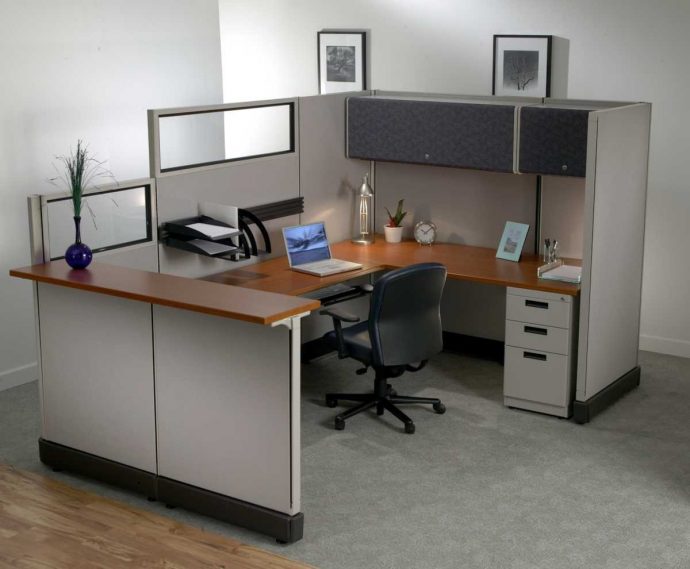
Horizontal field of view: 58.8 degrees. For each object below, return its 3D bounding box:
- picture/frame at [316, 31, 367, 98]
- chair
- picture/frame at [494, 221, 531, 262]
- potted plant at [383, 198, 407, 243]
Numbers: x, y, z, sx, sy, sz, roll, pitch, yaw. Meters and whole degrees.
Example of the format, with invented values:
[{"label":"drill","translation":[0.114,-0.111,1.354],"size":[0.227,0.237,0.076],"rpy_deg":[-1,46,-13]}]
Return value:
[{"label":"picture/frame","translation":[-0.037,-2.038,5.668],"size":[0.419,0.604,0.063],"rpy_deg":[0,-10,-2]},{"label":"chair","translation":[0.229,0.319,3.654],"size":[0.687,0.978,0.734],"rpy_deg":[3,12,14]},{"label":"picture/frame","translation":[1.177,-0.301,4.254],"size":[0.192,0.276,0.151],"rpy_deg":[16,25,33]},{"label":"potted plant","translation":[0.385,-0.489,4.703],"size":[0.144,0.333,0.145],"rpy_deg":[0,8,-1]}]
